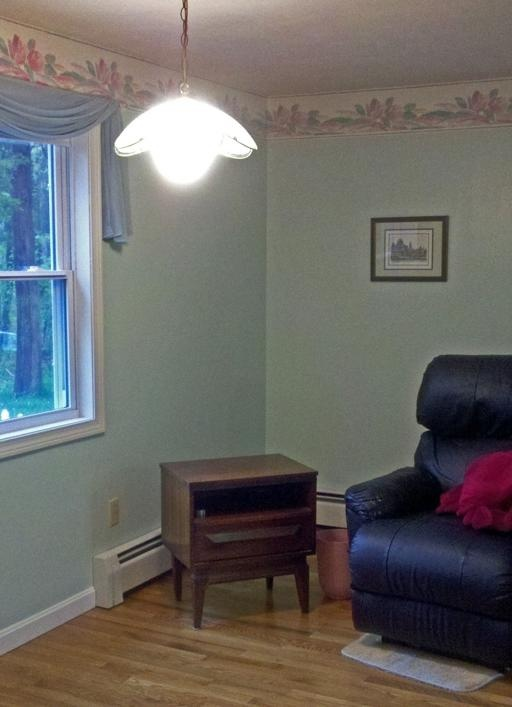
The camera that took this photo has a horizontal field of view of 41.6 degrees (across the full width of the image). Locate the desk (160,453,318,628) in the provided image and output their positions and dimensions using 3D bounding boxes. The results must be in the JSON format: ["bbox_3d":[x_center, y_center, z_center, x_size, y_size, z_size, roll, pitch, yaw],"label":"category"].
[{"bbox_3d":[-0.087,0.627,2.739,0.702,0.732,0.569,-1,0,-24],"label":"desk"}]

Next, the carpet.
[{"bbox_3d":[0.512,1.000,2.178,0.498,0.017,0.216,0,1,41],"label":"carpet"}]

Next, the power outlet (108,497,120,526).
[{"bbox_3d":[-0.601,0.671,2.841,0.010,0.123,0.076,0,1,22],"label":"power outlet"}]

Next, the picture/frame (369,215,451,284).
[{"bbox_3d":[0.801,-0.534,3.408,0.397,0.307,0.031,2,4,26],"label":"picture/frame"}]

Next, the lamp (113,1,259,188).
[{"bbox_3d":[-0.165,-0.588,1.609,0.338,0.350,0.220,-1,1,-11],"label":"lamp"}]
